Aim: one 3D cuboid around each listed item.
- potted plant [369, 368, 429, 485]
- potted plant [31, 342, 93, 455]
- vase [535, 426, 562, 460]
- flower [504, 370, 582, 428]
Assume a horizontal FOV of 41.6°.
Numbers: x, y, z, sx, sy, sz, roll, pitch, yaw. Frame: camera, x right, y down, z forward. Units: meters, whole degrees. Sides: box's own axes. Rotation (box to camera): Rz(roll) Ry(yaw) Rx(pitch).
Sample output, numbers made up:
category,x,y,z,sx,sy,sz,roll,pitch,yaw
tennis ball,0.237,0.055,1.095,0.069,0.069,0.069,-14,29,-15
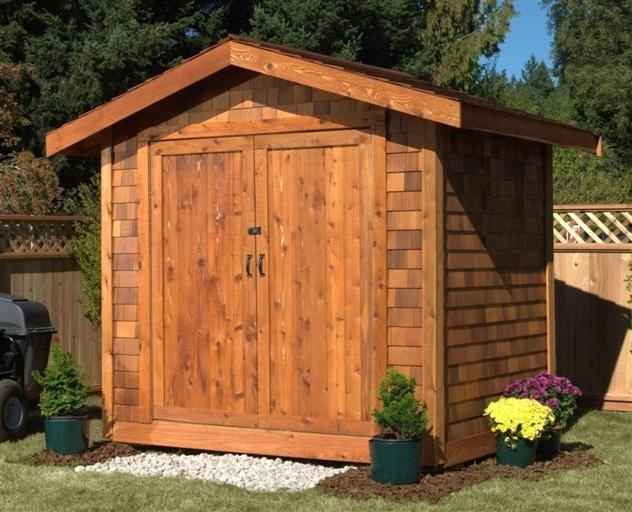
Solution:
category,x,y,z,sx,sy,sz,roll,pitch,yaw
potted plant,0.751,1.658,8.115,0.544,1.118,0.516,-3,-9,27
potted plant,-2.772,1.545,9.074,0.489,1.158,0.450,-1,4,-35
vase,2.402,1.966,8.797,0.265,0.252,0.283,2,-3,-45
flower,2.492,1.540,8.949,0.586,0.500,0.571,-2,-13,-19
